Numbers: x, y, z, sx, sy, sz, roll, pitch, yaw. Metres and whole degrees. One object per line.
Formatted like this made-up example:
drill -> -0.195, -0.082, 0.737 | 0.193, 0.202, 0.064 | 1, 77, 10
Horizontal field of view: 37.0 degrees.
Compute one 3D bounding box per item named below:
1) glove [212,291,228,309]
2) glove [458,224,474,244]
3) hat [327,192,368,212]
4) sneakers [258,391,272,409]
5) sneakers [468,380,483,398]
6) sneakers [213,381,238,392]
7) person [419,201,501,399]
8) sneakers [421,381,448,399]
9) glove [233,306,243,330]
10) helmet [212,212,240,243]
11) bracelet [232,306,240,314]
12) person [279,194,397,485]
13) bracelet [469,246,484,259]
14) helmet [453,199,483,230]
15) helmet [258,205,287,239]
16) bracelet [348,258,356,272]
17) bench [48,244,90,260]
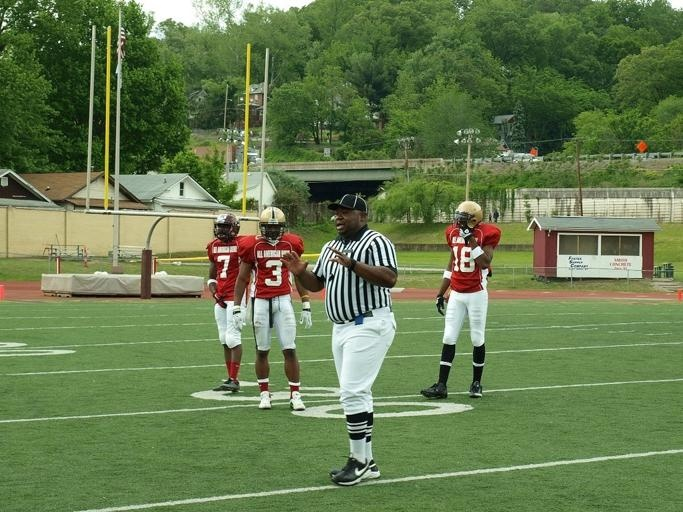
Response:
glove -> -1.914, 0.673, 15.768 | 0.188, 0.113, 0.256 | 41, -12, -38
glove -> 1.863, -0.329, 15.016 | 0.168, 0.273, 0.111 | -30, -36, 32
hat -> 0.088, -0.649, 12.198 | 0.404, 0.179, 0.230 | 3, -1, -20
sneakers -> -1.067, 2.032, 14.475 | 0.171, 0.247, 0.318 | 0, -1, -4
sneakers -> 2.011, 1.979, 15.138 | 0.192, 0.213, 0.532 | -1, -9, 3
sneakers -> -1.741, 1.960, 15.342 | 0.418, 0.151, 0.130 | 3, 4, 2
person -> 1.863, 0.627, 15.195 | 1.029, 2.918, 0.780 | -1, -1, 7
sneakers -> 1.365, 1.981, 14.931 | 0.469, 0.200, 0.169 | 3, 7, -9
glove -> -1.459, 0.870, 14.600 | 0.104, 0.255, 0.204 | -5, 0, -1
helmet -> -1.837, -0.437, 15.886 | 0.380, 0.400, 0.472 | -2, -2, 16
bracelet -> -1.498, 0.765, 14.550 | 0.101, 0.067, 0.093 | 0, -5, 0
person -> 0.114, 0.955, 12.135 | 1.108, 3.394, 0.706 | -1, -1, 2
bracelet -> 1.986, -0.049, 14.889 | 0.187, 0.133, 0.176 | -29, -2, -1
helmet -> 1.983, -0.619, 15.373 | 0.485, 0.357, 0.354 | 1, -2, -13
helmet -> -0.991, -0.492, 14.755 | 0.419, 0.422, 0.529 | 0, 14, -8
bracelet -> 0.143, 0.108, 11.947 | 0.079, 0.111, 0.094 | -5, 17, -11
bench -> -13.311, -0.062, 49.889 | 1.678, 0.480, 1.078 | 0, 3, -3
